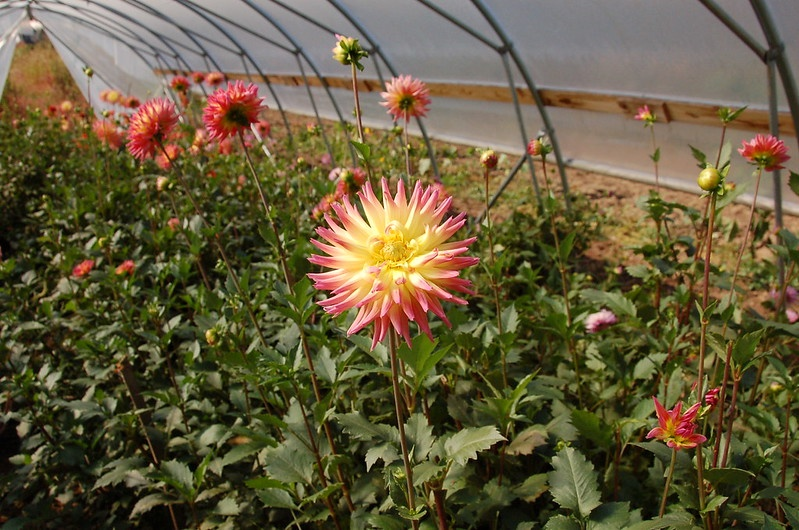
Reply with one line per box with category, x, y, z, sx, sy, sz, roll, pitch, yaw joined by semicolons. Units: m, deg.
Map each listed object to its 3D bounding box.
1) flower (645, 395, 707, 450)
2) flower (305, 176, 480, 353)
flower;1.300;0.744;2.734;0.271;0.257;0.104;-2;9;-6
flower;-0.027;-0.023;2.731;0.775;0.744;0.286;0;9;2
